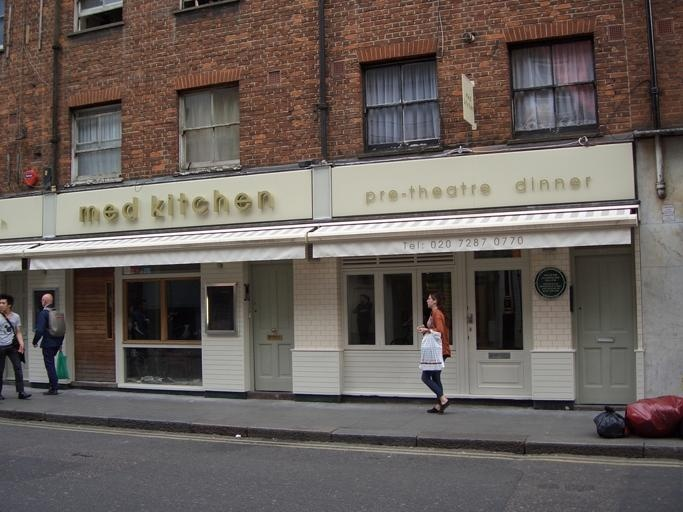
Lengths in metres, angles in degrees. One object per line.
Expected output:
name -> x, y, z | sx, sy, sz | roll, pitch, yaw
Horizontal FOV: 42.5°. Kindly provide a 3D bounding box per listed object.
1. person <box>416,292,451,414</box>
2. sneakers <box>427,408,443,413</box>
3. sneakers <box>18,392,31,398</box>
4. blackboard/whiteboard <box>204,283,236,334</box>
person -> 1.790, 1.859, 16.928 | 0.541, 2.247, 1.015 | -3, -3, 10
sneakers -> 1.763, 2.910, 16.670 | 0.271, 0.105, 0.104 | 1, -3, 10
sneakers -> -6.823, 2.986, 18.849 | 0.236, 0.242, 0.112 | -4, 2, -15
blackboard/whiteboard -> -2.643, 1.146, 19.173 | 0.803, 1.129, 0.109 | -2, -3, 23
